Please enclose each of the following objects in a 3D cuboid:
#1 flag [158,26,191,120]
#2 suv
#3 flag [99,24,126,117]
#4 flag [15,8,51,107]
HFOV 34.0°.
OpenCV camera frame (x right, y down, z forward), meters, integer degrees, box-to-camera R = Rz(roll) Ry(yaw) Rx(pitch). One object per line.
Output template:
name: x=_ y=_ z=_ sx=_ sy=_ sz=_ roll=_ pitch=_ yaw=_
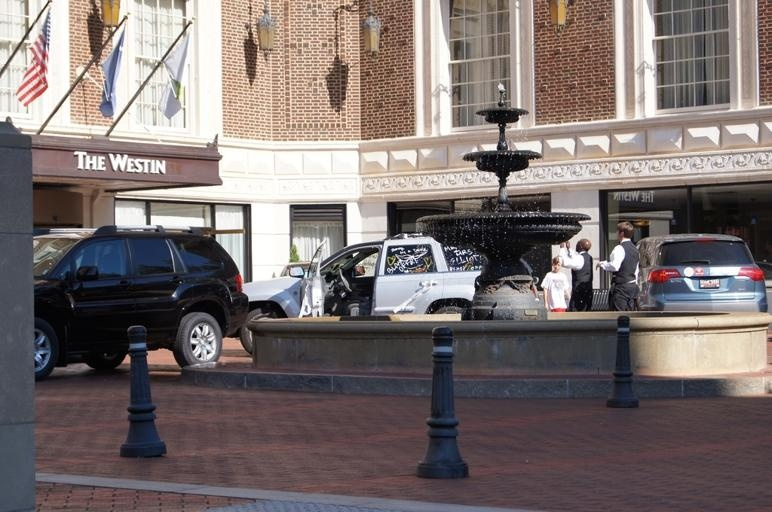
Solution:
flag: x=-5.271 y=-4.508 z=31.534 sx=0.758 sy=2.086 sz=1.006 roll=-3 pitch=10 yaw=-10
suv: x=-4.749 y=0.672 z=23.138 sx=3.804 sy=1.658 sz=2.132 roll=3 pitch=-6 yaw=-35
flag: x=-6.635 y=-4.430 z=30.657 sx=0.609 sy=2.115 sz=0.785 roll=-1 pitch=10 yaw=3
flag: x=-8.194 y=-4.589 z=29.350 sx=0.575 sy=2.073 sz=1.206 roll=0 pitch=10 yaw=8
